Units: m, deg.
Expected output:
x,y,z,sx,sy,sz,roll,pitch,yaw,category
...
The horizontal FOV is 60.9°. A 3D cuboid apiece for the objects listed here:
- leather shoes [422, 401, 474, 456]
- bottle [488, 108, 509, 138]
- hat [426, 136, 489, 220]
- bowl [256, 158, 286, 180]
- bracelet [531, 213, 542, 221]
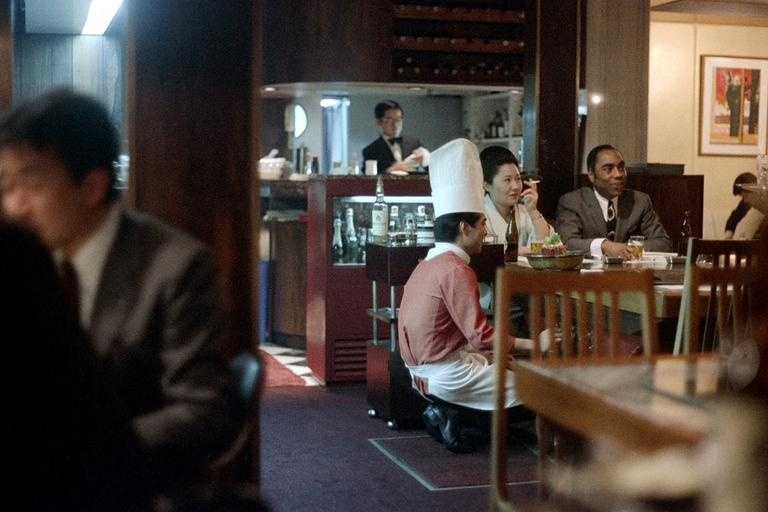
x,y,z,sx,sy,sz,roll,pitch,yaw,category
0.325,0.891,3.373,0.134,0.212,0.224,-23,19,-30,leather shoes
1.507,-1.759,8.626,0.156,0.397,0.552,0,5,-7,bottle
0.369,-0.370,3.425,0.342,0.481,0.385,-1,-6,11,hat
-1.018,-0.817,6.066,0.247,0.209,0.452,0,5,-9,bowl
0.996,-0.259,4.290,0.051,0.037,0.050,-3,8,-26,bracelet
